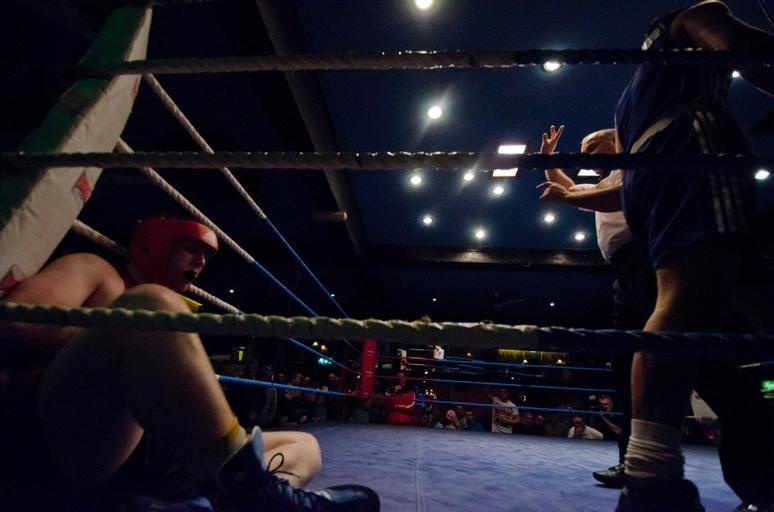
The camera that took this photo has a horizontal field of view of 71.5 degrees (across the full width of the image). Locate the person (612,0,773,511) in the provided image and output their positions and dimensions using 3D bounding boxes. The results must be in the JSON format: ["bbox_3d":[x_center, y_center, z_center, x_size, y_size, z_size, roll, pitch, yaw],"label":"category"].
[{"bbox_3d":[1.271,-0.036,2.252,0.583,2.107,0.727,5,7,16],"label":"person"}]
